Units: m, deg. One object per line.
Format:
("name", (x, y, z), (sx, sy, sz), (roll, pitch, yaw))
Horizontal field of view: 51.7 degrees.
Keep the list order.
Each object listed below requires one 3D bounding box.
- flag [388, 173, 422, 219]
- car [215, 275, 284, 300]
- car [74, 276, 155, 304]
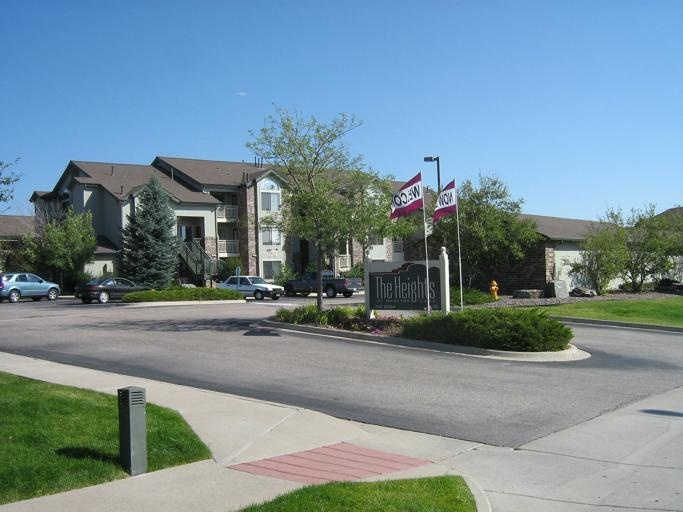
("flag", (2.103, -1.921, 22.552), (0.978, 1.423, 0.847), (1, 3, 4))
("car", (-5.551, 2.005, 43.445), (4.056, 1.272, 1.295), (3, 4, 30))
("car", (-12.554, 1.822, 38.302), (1.431, 1.294, 3.453), (-1, 4, 41))
